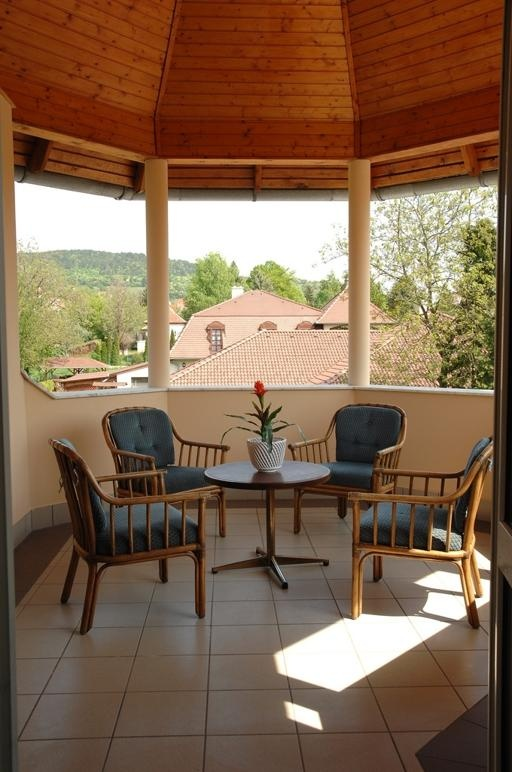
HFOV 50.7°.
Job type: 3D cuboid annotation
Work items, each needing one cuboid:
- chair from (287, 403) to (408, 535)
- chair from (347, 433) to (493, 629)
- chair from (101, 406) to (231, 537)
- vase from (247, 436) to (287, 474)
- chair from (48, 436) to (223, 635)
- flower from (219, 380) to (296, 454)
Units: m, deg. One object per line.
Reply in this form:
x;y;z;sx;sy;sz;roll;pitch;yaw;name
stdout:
0.750;0.662;4.243;0.881;1.023;0.887;0;1;-7;chair
0.906;0.734;2.913;0.696;0.885;0.669;-1;3;22;chair
-0.736;0.675;4.143;0.848;0.952;0.745;2;3;40;chair
0.072;0.450;3.510;0.205;0.177;0.224;0;-6;-3;vase
-0.669;0.743;2.828;0.690;0.870;0.635;2;-1;-28;chair
0.092;0.259;3.952;0.507;0.574;0.486;-1;16;23;flower
